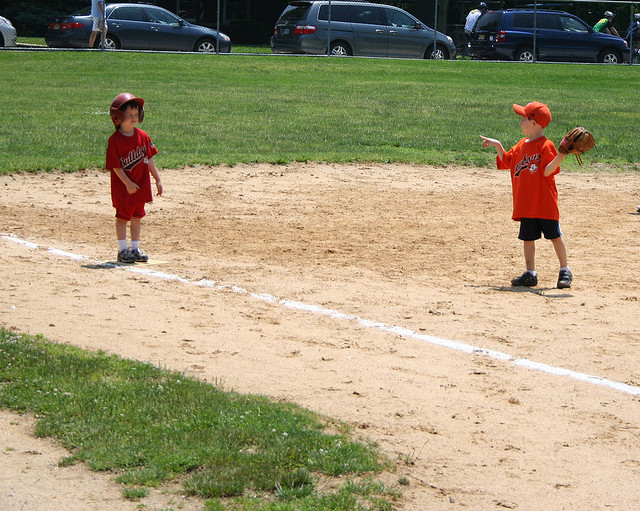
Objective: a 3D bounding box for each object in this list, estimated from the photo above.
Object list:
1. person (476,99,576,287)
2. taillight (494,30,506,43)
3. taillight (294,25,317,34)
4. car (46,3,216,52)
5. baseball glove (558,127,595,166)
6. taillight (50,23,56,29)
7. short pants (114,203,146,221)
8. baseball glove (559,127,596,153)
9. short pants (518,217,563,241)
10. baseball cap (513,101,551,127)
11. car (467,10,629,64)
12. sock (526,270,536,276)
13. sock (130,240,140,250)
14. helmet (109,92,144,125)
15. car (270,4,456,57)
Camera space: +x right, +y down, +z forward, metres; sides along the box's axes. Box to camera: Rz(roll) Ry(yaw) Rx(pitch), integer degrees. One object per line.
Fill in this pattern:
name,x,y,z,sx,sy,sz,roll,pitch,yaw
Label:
person,2.077,-0.598,11.941,0.881,1.775,0.353,10,11,31
taillight,4.488,-5.464,30.511,0.287,0.306,0.244,6,10,14
taillight,-0.332,-5.279,28.604,0.349,0.119,0.250,0,9,10
car,-4.041,-5.134,28.035,3.357,0.891,1.324,-5,12,-28
baseball glove,2.582,-1.083,12.064,0.279,0.331,0.152,-32,5,24
taillight,-6.098,-5.250,27.993,0.073,0.129,0.339,0,9,-19
short pants,-1.876,-0.455,12.280,0.177,0.275,0.278,0,4,31
baseball glove,2.523,-1.135,12.010,0.325,0.221,0.122,-4,45,11
short pants,2.147,-0.266,11.960,0.276,0.226,0.102,3,16,19
baseball cap,2.091,-1.401,11.863,0.373,0.169,0.224,21,21,5
car,5.841,-5.446,30.598,3.941,1.241,1.559,-3,12,-12
sock,2.078,0.156,12.004,0.099,0.039,0.035,29,-4,10
sock,-1.848,-0.116,12.320,0.084,0.109,0.078,1,0,-11
helmet,-1.886,-1.460,12.054,0.354,0.265,0.323,10,17,42
car,1.327,-5.325,29.293,3.897,1.077,1.583,-3,14,-20
